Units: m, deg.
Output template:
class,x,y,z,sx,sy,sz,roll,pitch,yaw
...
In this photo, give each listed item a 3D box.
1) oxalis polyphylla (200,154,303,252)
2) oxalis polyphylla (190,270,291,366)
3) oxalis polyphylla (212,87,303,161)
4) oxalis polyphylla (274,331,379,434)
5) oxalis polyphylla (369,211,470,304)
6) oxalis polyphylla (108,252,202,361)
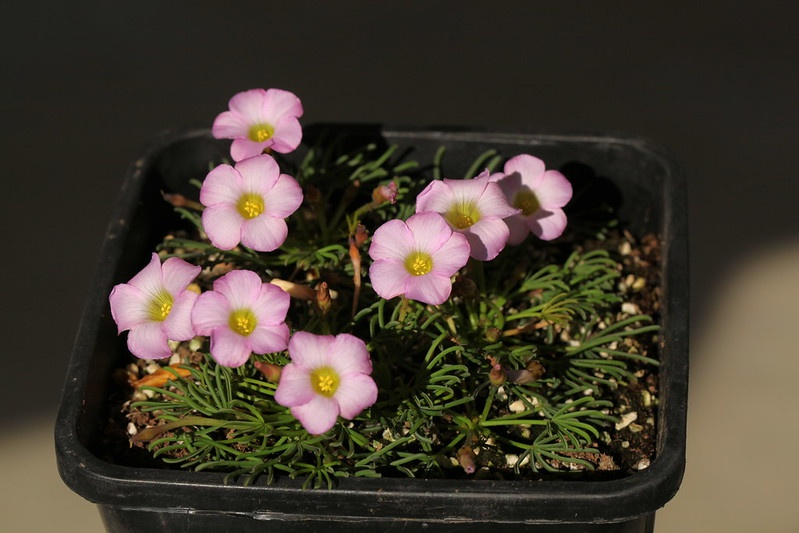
class,x,y,z,sx,sy,sz,roll,pitch,yaw
oxalis polyphylla,-0.458,-0.185,2.379,0.317,0.186,0.269,13,54,6
oxalis polyphylla,-0.427,0.165,2.236,0.284,0.117,0.320,-14,48,-23
oxalis polyphylla,-0.447,-0.448,2.470,0.281,0.112,0.277,-8,55,-10
oxalis polyphylla,-0.223,0.308,2.217,0.302,0.121,0.301,-12,68,-32
oxalis polyphylla,0.065,-0.024,2.257,0.256,0.119,0.286,-3,67,8
oxalis polyphylla,-0.705,0.126,2.327,0.305,0.134,0.339,-14,52,0
